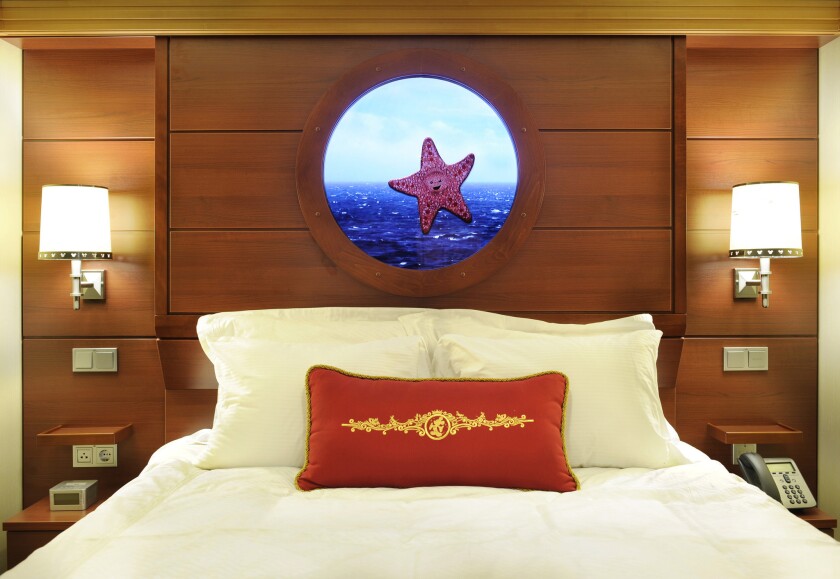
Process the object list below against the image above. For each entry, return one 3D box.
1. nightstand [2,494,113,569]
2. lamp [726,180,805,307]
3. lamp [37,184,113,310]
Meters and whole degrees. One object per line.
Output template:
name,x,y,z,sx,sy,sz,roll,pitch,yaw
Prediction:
nightstand,-1.659,1.074,3.379,0.438,0.232,0.406,-1,0,-6
lamp,1.668,-0.200,3.479,0.372,0.564,0.340,3,-1,-8
lamp,-1.612,-0.315,3.371,0.295,0.346,0.100,-2,3,-26
